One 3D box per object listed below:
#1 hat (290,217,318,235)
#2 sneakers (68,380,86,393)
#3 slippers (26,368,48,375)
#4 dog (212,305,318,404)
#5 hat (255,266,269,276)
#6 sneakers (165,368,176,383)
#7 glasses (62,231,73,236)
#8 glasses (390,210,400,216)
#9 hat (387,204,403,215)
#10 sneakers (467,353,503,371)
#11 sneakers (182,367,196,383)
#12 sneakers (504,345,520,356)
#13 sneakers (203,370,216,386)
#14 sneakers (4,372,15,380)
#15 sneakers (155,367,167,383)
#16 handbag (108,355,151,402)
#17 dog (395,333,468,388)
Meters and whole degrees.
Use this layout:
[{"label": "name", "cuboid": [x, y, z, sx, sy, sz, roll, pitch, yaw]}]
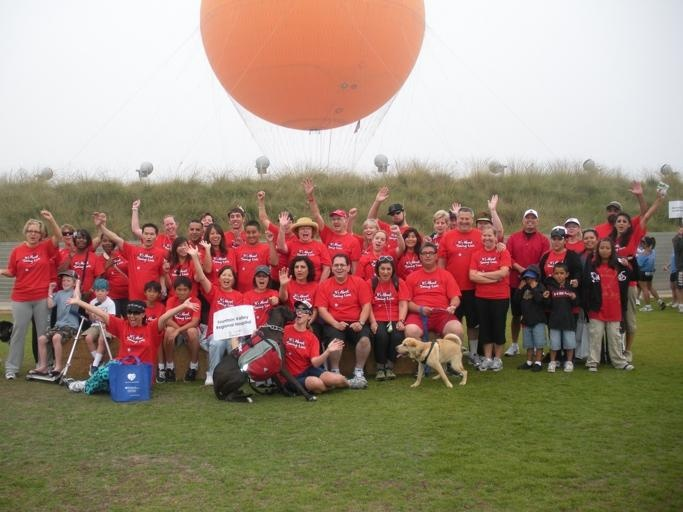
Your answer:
[{"label": "hat", "cuboid": [-0.602, -0.471, 9.839, 0.415, 0.242, 0.524, -2, 10, -6]}, {"label": "sneakers", "cuboid": [-3.700, 1.822, 8.758, 0.148, 0.107, 0.204, 1, -5, -7]}, {"label": "slippers", "cuboid": [-4.490, 1.660, 9.198, 0.284, 0.085, 0.131, 6, -1, -3]}, {"label": "dog", "cuboid": [-1.148, 1.321, 8.457, 1.353, 1.302, 0.978, -2, -7, -34]}, {"label": "hat", "cuboid": [-1.143, 0.203, 9.040, 0.171, 0.136, 0.298, 1, -12, -1]}, {"label": "sneakers", "cuboid": [-2.545, 1.752, 9.190, 0.129, 0.171, 0.397, 2, -6, -13]}, {"label": "glasses", "cuboid": [-4.383, -0.357, 9.975, 0.168, 0.068, 0.094, -10, 13, -41]}, {"label": "glasses", "cuboid": [0.806, -0.655, 9.680, 0.145, 0.069, 0.078, 0, 10, 4]}, {"label": "hat", "cuboid": [0.827, -0.725, 9.719, 0.139, 0.112, 0.205, -18, 3, 22]}, {"label": "sneakers", "cuboid": [2.165, 1.606, 9.521, 0.515, 0.261, 0.203, 0, 5, 27]}, {"label": "sneakers", "cuboid": [-2.251, 1.752, 9.229, 0.212, 0.226, 0.105, 14, -7, -42]}, {"label": "sneakers", "cuboid": [2.887, 1.598, 10.661, 0.124, 0.176, 0.349, 0, -6, 35]}, {"label": "sneakers", "cuboid": [-1.898, 1.731, 8.939, 0.186, 0.309, 0.189, 1, -10, -10]}, {"label": "sneakers", "cuboid": [-4.880, 1.752, 9.170, 0.132, 0.099, 0.147, -7, 12, -32]}, {"label": "sneakers", "cuboid": [-2.679, 1.753, 9.205, 0.085, 0.112, 0.266, 4, 15, -14]}, {"label": "handbag", "cuboid": [-2.875, 1.693, 8.393, 0.573, 0.626, 0.389, 8, -29, -36]}, {"label": "dog", "cuboid": [1.253, 1.431, 8.804, 1.060, 0.762, 0.729, -2, 10, -10]}]
